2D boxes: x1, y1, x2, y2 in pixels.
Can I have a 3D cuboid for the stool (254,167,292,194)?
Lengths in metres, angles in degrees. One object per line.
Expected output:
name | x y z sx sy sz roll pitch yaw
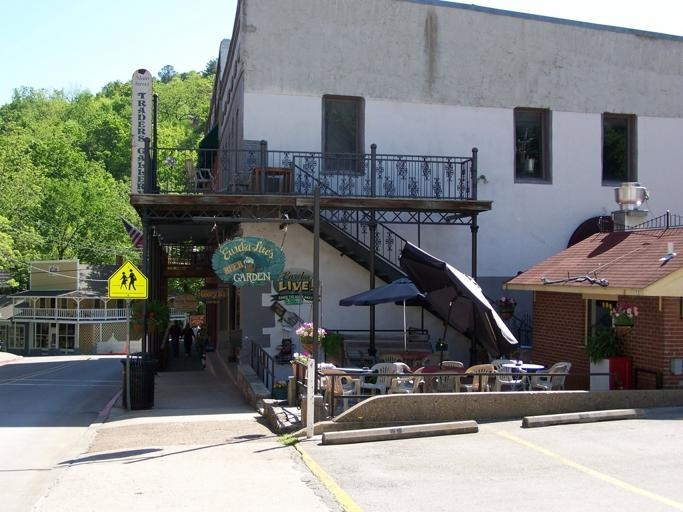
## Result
stool | -2.142 -2.290 30.222 0.923 0.574 0.932 0 0 -17

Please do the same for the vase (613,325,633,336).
vase | 7.473 1.977 27.056 0.084 0.251 0.627 2 -4 -28

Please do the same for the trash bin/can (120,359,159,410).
trash bin/can | -5.480 3.454 28.177 1.237 1.702 1.203 0 0 4

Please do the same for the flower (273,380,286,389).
flower | -1.661 3.375 26.946 0.359 0.187 0.376 1 -4 -6

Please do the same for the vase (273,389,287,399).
vase | -1.661 3.620 26.837 0.266 0.172 0.279 -1 -5 -2

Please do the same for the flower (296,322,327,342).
flower | -0.969 2.013 26.964 0.583 0.429 0.593 7 -2 -42

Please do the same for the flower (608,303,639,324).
flower | 7.383 1.521 26.700 0.504 0.436 0.582 1 -3 -19

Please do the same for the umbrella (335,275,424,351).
umbrella | 1.243 1.092 28.886 2.159 1.435 2.222 1 0 35

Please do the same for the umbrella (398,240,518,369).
umbrella | 3.144 1.107 26.986 2.264 2.971 2.905 2 -4 -26

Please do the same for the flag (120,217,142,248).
flag | -8.462 -0.859 41.027 0.660 1.032 1.753 1 -4 -9
